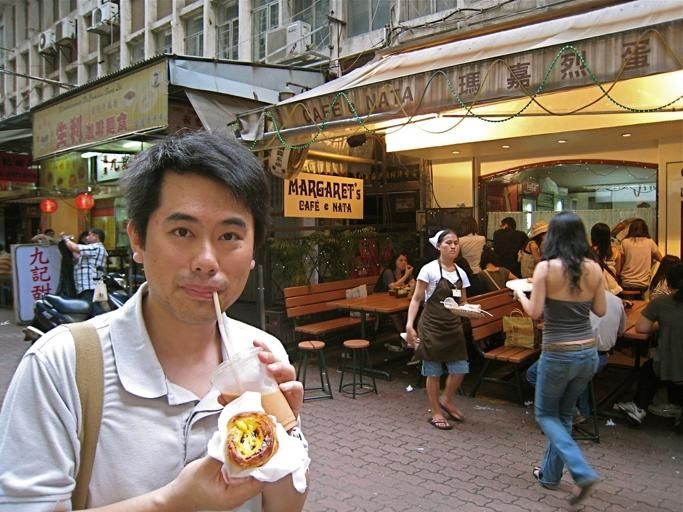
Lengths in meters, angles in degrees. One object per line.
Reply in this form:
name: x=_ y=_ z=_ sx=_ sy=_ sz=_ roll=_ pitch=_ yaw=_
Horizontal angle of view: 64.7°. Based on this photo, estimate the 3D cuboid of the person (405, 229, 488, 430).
person: x=1.133 y=0.789 z=6.002 sx=0.756 sy=2.144 sz=0.675 roll=0 pitch=0 yaw=-8

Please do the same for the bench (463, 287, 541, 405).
bench: x=2.037 y=1.223 z=7.231 sx=0.901 sy=1.358 sz=1.136 roll=6 pitch=11 yaw=31

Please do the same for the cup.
cup: x=-0.295 y=0.412 z=1.866 sx=0.193 sy=0.327 sz=0.356 roll=0 pitch=0 yaw=13

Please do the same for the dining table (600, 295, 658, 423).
dining table: x=3.302 y=1.234 z=6.215 sx=0.460 sy=0.352 sz=1.573 roll=1 pitch=3 yaw=33

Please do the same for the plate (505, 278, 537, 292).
plate: x=1.745 y=0.333 z=5.250 sx=0.248 sy=0.024 sz=0.237 roll=-3 pitch=6 yaw=-7

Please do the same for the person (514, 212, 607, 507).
person: x=1.763 y=0.658 z=4.406 sx=0.686 sy=2.021 sz=0.957 roll=2 pitch=6 yaw=24

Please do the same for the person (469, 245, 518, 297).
person: x=2.351 y=0.216 z=8.415 sx=0.599 sy=0.729 sz=0.573 roll=3 pitch=6 yaw=22

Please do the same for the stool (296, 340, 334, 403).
stool: x=-0.395 y=1.455 z=7.226 sx=0.509 sy=0.833 sz=0.638 roll=6 pitch=10 yaw=30

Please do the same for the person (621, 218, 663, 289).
person: x=5.309 y=0.010 z=9.682 sx=0.716 sy=1.392 sz=0.635 roll=4 pitch=9 yaw=27
